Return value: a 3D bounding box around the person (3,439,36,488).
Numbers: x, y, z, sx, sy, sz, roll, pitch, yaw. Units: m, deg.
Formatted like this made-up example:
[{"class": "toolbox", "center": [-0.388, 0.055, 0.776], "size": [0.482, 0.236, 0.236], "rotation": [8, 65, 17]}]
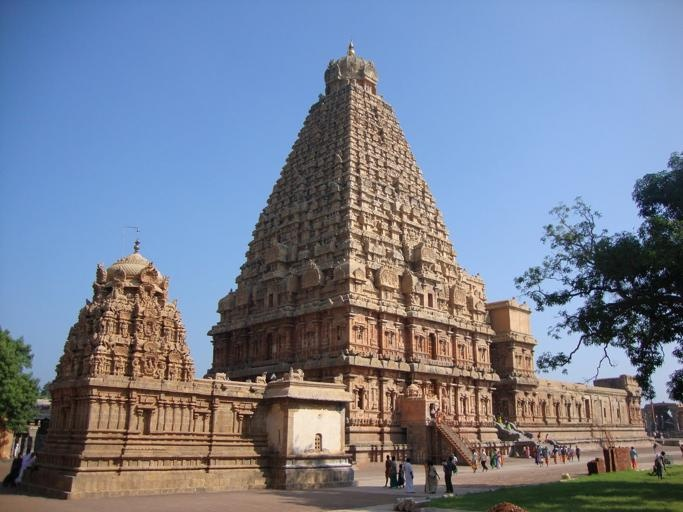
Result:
[{"class": "person", "center": [-13.842, 9.197, 23.639], "size": [1.056, 1.383, 1.492], "rotation": [11, -27, -28]}]
